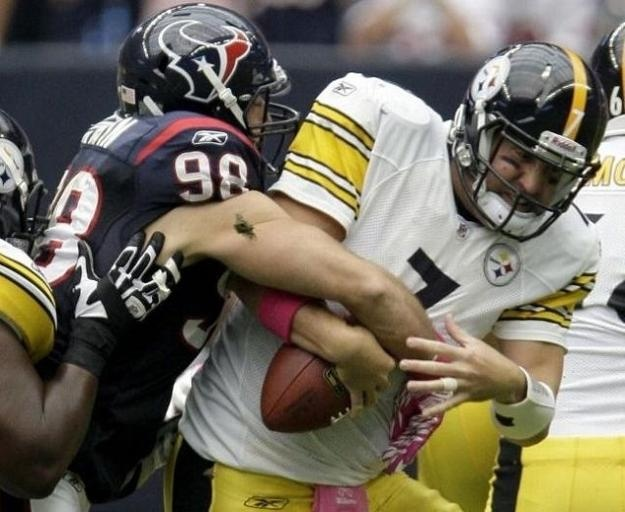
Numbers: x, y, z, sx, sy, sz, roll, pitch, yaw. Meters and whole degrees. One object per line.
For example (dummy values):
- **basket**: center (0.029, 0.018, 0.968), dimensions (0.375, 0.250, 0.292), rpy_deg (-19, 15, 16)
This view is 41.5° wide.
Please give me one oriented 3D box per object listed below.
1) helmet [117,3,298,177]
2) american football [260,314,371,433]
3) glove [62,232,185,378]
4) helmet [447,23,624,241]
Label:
- **helmet**: center (-0.332, -0.500, 2.505), dimensions (0.533, 0.488, 0.431), rpy_deg (-1, 12, -18)
- **american football**: center (-0.007, 0.388, 2.405), dimensions (0.273, 0.233, 0.362), rpy_deg (27, 37, 28)
- **glove**: center (-0.526, 0.135, 2.303), dimensions (0.265, 0.407, 0.108), rpy_deg (32, -9, 4)
- **helmet**: center (0.641, -0.357, 2.553), dimensions (0.444, 0.501, 0.618), rpy_deg (34, 41, -10)
